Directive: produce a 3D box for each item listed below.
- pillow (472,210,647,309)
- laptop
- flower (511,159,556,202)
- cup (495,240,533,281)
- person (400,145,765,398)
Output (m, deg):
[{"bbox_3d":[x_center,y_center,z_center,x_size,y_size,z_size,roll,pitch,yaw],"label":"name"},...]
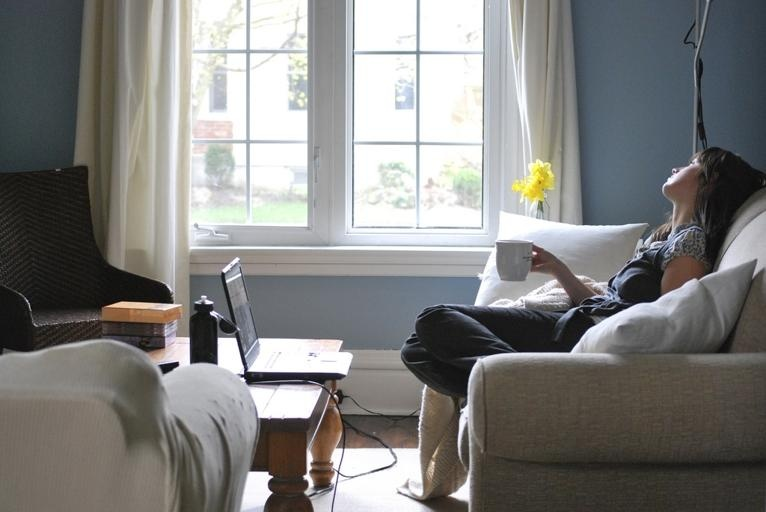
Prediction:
[{"bbox_3d":[0.802,-0.016,3.057,0.513,0.210,0.525,2,30,28],"label":"pillow"},{"bbox_3d":[-0.344,0.229,2.522,0.494,0.380,0.560,-2,2,-16],"label":"laptop"},{"bbox_3d":[0.773,-0.350,3.368,0.221,0.254,0.264,-1,24,7],"label":"flower"},{"bbox_3d":[0.483,0.012,2.489,0.147,0.152,0.141,-2,10,0],"label":"cup"},{"bbox_3d":[0.872,0.082,2.823,1.767,1.142,0.710,-4,-1,5],"label":"person"}]
